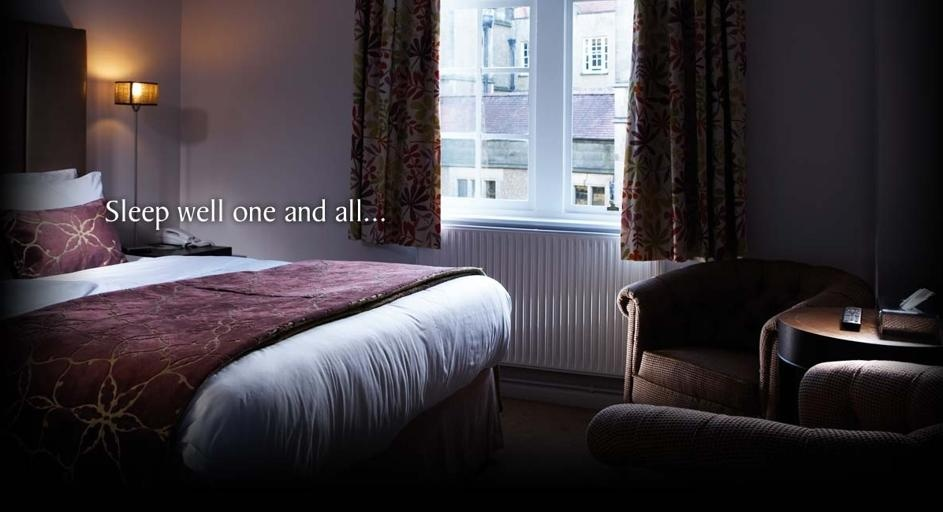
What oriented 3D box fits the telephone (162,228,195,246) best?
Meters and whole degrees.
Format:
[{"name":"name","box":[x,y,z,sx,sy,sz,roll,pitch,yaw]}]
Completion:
[{"name":"telephone","box":[-2.310,-0.153,4.639,0.224,0.074,0.133,5,12,14]}]

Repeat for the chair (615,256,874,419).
[{"name":"chair","box":[1.750,0.430,3.806,1.179,0.936,1.120,1,-5,42]}]

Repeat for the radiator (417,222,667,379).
[{"name":"radiator","box":[0.519,0.329,4.573,0.118,1.068,1.859,-16,13,-40]}]
